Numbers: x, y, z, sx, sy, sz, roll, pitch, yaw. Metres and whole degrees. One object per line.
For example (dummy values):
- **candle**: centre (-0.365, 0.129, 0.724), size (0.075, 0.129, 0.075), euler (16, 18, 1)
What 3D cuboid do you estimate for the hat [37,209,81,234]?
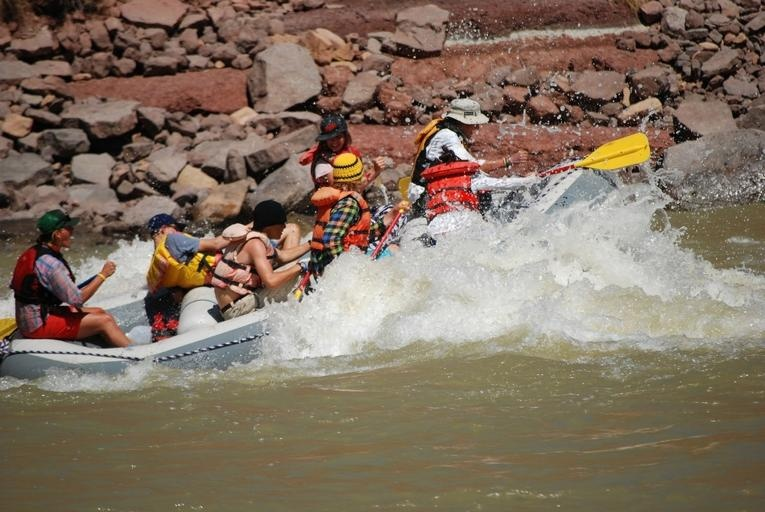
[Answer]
- **hat**: centre (-3.855, -0.398, 11.056), size (0.465, 0.204, 0.267), euler (-8, 32, -19)

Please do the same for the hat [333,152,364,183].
- **hat**: centre (-0.433, -1.072, 11.592), size (0.425, 0.278, 0.373), euler (-6, 34, -5)

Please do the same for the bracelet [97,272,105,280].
- **bracelet**: centre (-3.404, 0.230, 11.198), size (0.087, 0.083, 0.023), euler (35, 72, 7)

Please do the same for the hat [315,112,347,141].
- **hat**: centre (-0.647, -1.734, 12.372), size (0.331, 0.201, 0.418), euler (-13, 16, 39)

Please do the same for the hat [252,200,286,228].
- **hat**: centre (-1.380, -0.505, 11.171), size (0.430, 0.262, 0.281), euler (-5, 13, -6)

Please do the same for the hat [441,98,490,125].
- **hat**: centre (1.094, -1.874, 12.209), size (0.477, 0.139, 0.401), euler (8, 16, 2)

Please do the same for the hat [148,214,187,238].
- **hat**: centre (-2.738, -0.413, 11.580), size (0.462, 0.206, 0.299), euler (-17, 5, -16)

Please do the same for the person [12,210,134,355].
- **person**: centre (-3.834, 0.389, 10.934), size (1.163, 1.555, 0.916), euler (-14, 33, -8)

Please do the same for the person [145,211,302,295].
- **person**: centre (-2.136, -0.032, 11.646), size (1.900, 0.932, 0.862), euler (-5, 0, -26)
